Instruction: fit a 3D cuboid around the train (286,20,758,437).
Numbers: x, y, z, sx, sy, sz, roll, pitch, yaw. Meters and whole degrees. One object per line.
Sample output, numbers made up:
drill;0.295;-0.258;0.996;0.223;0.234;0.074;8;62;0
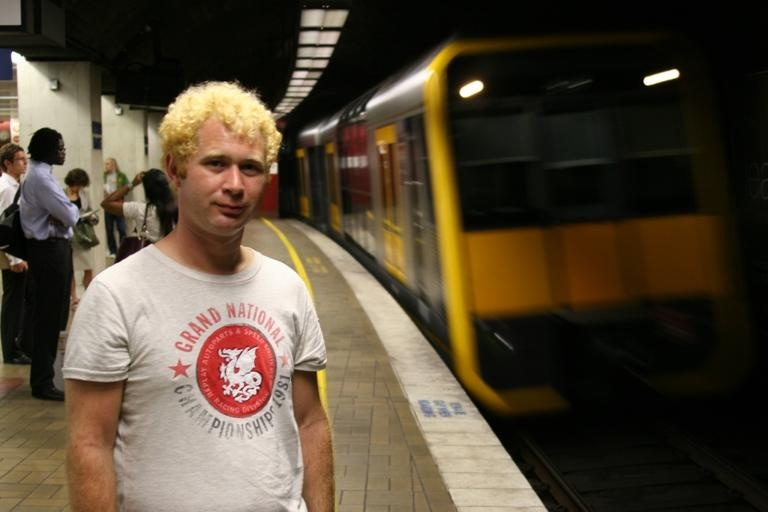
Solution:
train;1.446;-0.536;6.329;2.365;3.835;4.649;-10;17;-42

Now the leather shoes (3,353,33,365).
leather shoes;-4.193;1.176;6.345;0.416;0.153;0.148;0;0;-2
